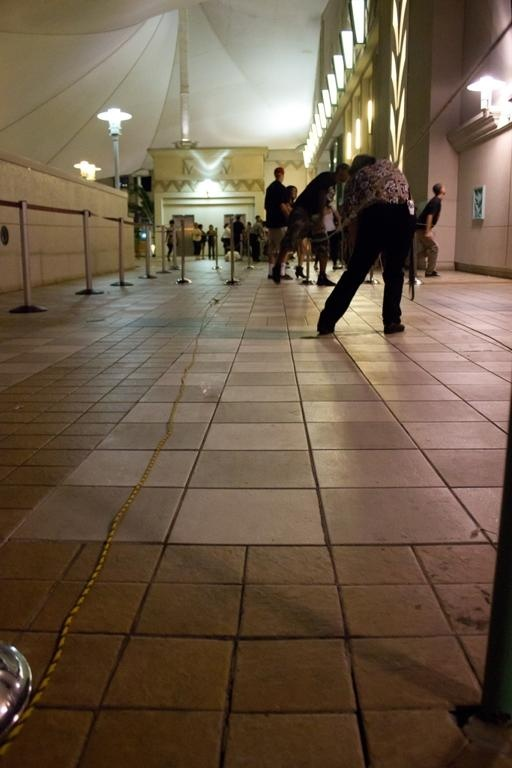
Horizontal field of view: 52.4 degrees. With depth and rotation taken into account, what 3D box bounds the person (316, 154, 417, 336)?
[{"bbox_3d":[1.056,-1.352,5.005,0.874,1.764,0.887,-4,-2,26],"label":"person"}]
